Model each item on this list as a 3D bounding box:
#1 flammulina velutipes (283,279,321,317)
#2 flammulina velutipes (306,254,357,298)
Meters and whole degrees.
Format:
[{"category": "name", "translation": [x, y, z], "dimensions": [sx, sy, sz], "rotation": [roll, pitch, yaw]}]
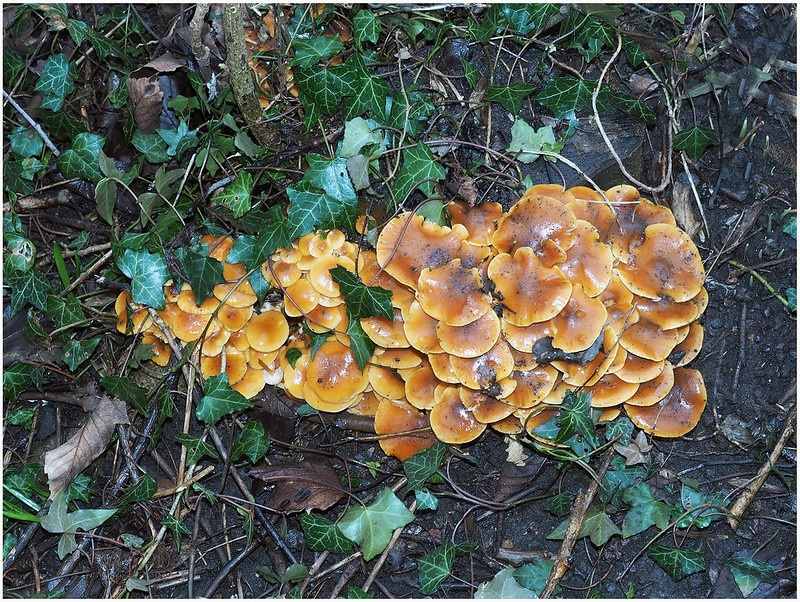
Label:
[{"category": "flammulina velutipes", "translation": [-0.610, -0.022, 4.248], "dimensions": [0.194, 0.063, 0.239], "rotation": [19, 87, 3]}, {"category": "flammulina velutipes", "translation": [-0.426, -0.174, 4.172], "dimensions": [0.246, 0.092, 0.287], "rotation": [34, 87, 3]}]
